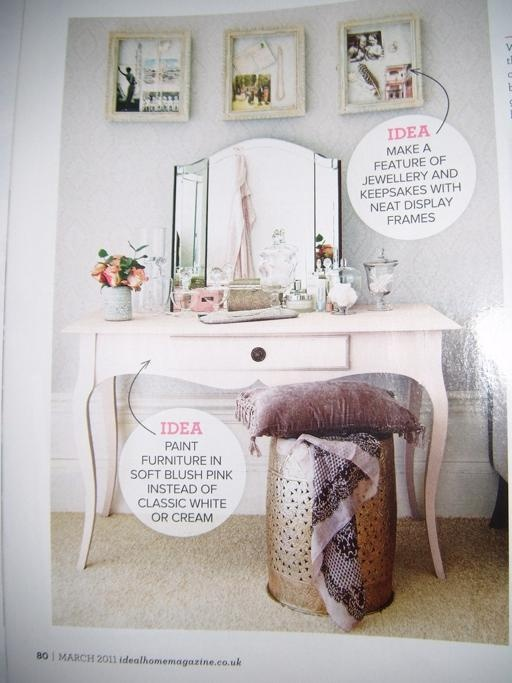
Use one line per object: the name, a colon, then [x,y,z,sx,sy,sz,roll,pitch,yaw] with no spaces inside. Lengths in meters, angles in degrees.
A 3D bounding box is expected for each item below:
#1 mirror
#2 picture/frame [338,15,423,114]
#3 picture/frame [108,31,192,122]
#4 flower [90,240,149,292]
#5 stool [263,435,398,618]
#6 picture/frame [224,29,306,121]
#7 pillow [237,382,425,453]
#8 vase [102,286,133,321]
mirror: [0.009,-0.295,1.426,0.419,0.510,0.015,-1,-28,5]
picture/frame: [0.287,-0.631,1.326,0.213,0.226,0.016,-1,6,7]
picture/frame: [-0.252,-0.622,1.368,0.200,0.203,0.016,1,3,-1]
flower: [-0.323,-0.167,1.390,0.103,0.067,0.125,28,32,35]
stool: [0.145,0.415,1.450,0.333,0.372,0.350,0,2,3]
picture/frame: [0.020,-0.628,1.365,0.189,0.193,0.013,-1,11,4]
pillow: [0.150,0.148,1.320,0.284,0.088,0.179,0,10,-4]
vase: [-0.312,-0.088,1.387,0.073,0.087,0.075,-1,3,-3]
